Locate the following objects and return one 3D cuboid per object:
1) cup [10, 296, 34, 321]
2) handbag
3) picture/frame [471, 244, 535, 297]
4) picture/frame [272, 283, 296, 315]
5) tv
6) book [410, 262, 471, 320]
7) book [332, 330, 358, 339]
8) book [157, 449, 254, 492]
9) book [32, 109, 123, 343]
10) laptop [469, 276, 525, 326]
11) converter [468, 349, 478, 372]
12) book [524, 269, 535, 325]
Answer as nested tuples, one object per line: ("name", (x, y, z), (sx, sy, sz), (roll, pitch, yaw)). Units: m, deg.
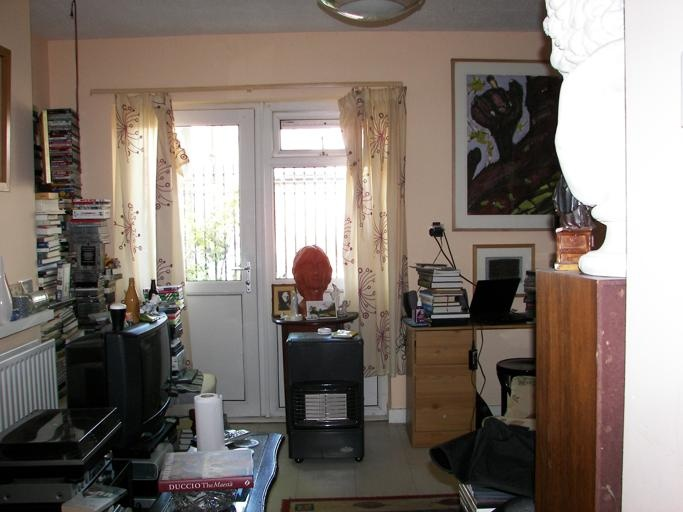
("cup", (-1.589, 0.259, 2.827), (0.092, 0.074, 0.094), (1, -6, 0))
("handbag", (0.577, 0.729, 2.054), (0.230, 0.132, 0.579), (0, 4, 18))
("picture/frame", (1.127, 0.106, 4.037), (0.346, 0.306, 0.026), (-1, 5, -1))
("picture/frame", (-0.413, 0.321, 4.065), (0.216, 0.303, 0.022), (2, -1, -2))
("tv", (-1.161, 0.538, 3.087), (0.442, 0.695, 0.809), (0, 0, 4))
("book", (0.661, 0.246, 3.831), (0.302, 0.386, 0.513), (-1, -1, -6))
("book", (0.017, 0.497, 3.558), (0.160, 0.027, 0.107), (-1, 4, 6))
("book", (-0.580, 0.958, 2.450), (0.387, 0.145, 0.285), (-2, 4, -13))
("book", (-1.751, -0.227, 3.693), (0.420, 1.436, 0.587), (2, 5, 44))
("laptop", (1.029, 0.299, 3.824), (0.355, 0.272, 0.320), (-1, 4, -3))
("converter", (0.850, 0.681, 3.685), (0.057, 0.152, 0.030), (-2, 4, -17))
("book", (1.302, 0.263, 3.929), (0.054, 0.311, 0.324), (0, 4, 14))
